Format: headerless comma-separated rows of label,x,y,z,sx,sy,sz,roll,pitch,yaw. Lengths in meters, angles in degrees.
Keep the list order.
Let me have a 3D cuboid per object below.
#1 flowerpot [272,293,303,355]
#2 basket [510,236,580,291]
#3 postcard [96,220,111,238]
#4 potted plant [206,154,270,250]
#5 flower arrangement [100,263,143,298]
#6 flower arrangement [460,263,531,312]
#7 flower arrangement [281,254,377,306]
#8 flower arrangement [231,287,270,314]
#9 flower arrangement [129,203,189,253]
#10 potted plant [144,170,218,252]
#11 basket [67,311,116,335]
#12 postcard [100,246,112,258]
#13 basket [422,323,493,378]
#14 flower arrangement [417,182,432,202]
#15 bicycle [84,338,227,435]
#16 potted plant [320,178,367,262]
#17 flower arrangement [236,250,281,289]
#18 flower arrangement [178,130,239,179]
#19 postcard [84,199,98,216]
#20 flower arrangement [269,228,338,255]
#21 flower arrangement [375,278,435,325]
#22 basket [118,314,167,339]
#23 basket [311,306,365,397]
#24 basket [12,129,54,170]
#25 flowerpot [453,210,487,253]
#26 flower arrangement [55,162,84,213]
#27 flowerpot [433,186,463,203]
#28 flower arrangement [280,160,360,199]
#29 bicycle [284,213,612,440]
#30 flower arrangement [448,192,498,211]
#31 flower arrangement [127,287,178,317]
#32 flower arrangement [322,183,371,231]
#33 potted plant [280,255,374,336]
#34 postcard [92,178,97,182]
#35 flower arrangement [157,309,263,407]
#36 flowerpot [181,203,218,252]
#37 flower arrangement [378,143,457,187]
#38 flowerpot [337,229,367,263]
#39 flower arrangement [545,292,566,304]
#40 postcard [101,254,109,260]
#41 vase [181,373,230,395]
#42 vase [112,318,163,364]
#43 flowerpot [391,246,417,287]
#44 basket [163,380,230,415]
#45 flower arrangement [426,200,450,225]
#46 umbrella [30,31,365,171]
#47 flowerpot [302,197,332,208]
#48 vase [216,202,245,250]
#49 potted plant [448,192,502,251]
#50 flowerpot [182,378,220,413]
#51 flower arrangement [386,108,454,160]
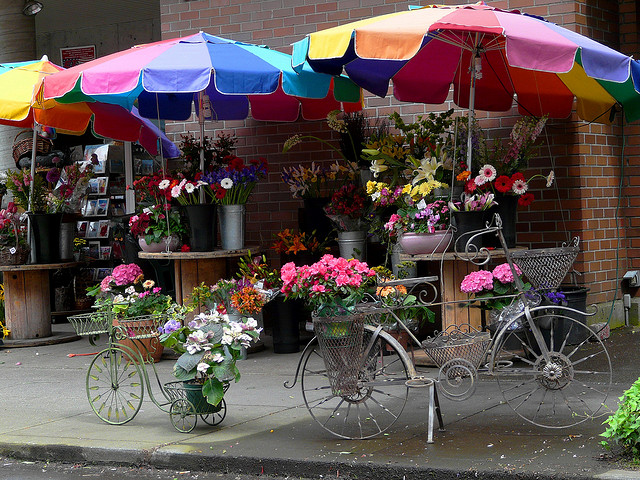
flowerpot,-0.405,0.996,8.361,0.505,0.707,0.509,-2,-10,-3
basket,1.809,0.215,5.572,0.412,0.301,0.395,6,-14,-34
postcard,-3.761,-0.184,12.173,0.254,0.300,0.032,-15,-26,27
potted plant,-0.987,-0.436,8.367,0.932,1.100,0.828,-4,-7,38
flower arrangement,-2.157,0.497,7.895,0.364,0.276,0.388,5,26,9
flower arrangement,1.669,0.446,6.595,0.628,0.400,0.602,-3,-3,-16
flower arrangement,0.084,0.338,5.616,0.575,0.344,0.605,-3,2,-3
flower arrangement,-0.750,0.642,7.497,0.284,0.207,0.279,-1,1,6
flower arrangement,-1.915,-0.131,8.296,0.595,0.442,0.610,2,1,43
potted plant,-1.721,-0.349,8.558,0.977,1.149,0.847,-4,-1,3
basket,-1.956,0.704,5.916,0.295,0.188,0.347,-3,3,-21
postcard,-3.728,0.188,12.139,0.197,0.136,0.049,-1,-4,18
basket,1.066,0.873,5.398,0.439,0.364,0.476,0,4,34
flower arrangement,1.036,-0.500,6.905,0.123,0.124,0.090,-2,3,7
bicycle,-1.441,1.156,5.962,1.258,0.838,0.643,-5,-8,14
potted plant,0.152,-0.210,8.299,0.773,0.900,0.675,0,1,6
flower arrangement,-0.744,0.368,8.095,0.489,0.381,0.395,3,-7,-1
flower arrangement,-1.492,-1.098,9.075,0.615,0.479,0.649,-1,2,7
postcard,-4.035,-0.564,12.326,0.288,0.337,0.024,1,-18,14
flower arrangement,-0.244,0.007,8.481,0.548,0.245,0.377,2,-8,-3
flower arrangement,0.825,0.607,6.563,0.592,0.286,0.598,4,4,-16
basket,-1.737,0.850,6.809,0.425,0.215,0.436,-2,-6,1
basket,0.195,0.827,5.247,0.522,0.808,0.535,-3,0,4
basket,-4.667,-1.418,11.383,0.483,0.529,0.612,2,-15,-33
flowerpot,1.449,-0.060,6.842,0.390,0.469,0.390,1,-6,-8
flower arrangement,-3.466,-0.760,9.717,0.199,0.622,0.253,40,-25,-30
flowerpot,1.325,-0.489,7.086,0.184,0.135,0.204,1,-8,-2
flower arrangement,-0.012,-0.754,8.684,0.744,0.382,0.535,-2,-3,7
bicycle,1.228,0.705,5.886,0.906,1.468,2.341,-17,15,-35
flower arrangement,1.541,-0.357,6.814,0.260,0.118,0.263,-2,-6,-19
flower arrangement,-1.889,0.653,7.693,0.540,0.220,0.521,-1,19,20
flower arrangement,0.275,-0.321,8.249,0.519,0.570,0.530,-14,-12,-14
potted plant,0.037,0.390,5.273,0.577,0.522,0.588,-4,-3,43
postcard,-3.962,-1.060,12.267,0.071,0.050,0.073,-1,-9,1
flower arrangement,-0.927,0.965,5.612,0.714,0.610,0.698,-10,20,-38
flowerpot,-1.329,-0.109,8.210,0.535,0.605,0.479,0,-6,0
flower arrangement,1.074,-0.756,7.254,0.569,0.324,0.541,-2,8,5
flowerpot,0.380,0.079,8.201,0.346,0.390,0.353,-1,-5,-7
flower arrangement,2.312,0.563,6.858,0.170,0.057,0.172,5,-3,-17
postcard,-3.719,0.296,12.101,0.094,0.095,0.025,-2,-6,4
vase,-0.919,1.125,5.455,0.235,0.097,0.233,2,-2,-34
vase,-1.765,1.025,7.027,0.520,0.415,0.520,-10,3,-31
flowerpot,0.922,0.312,7.889,0.393,0.457,0.424,1,-10,-2
basket,-1.024,1.259,5.591,0.364,0.138,0.375,0,-4,19
flower arrangement,1.172,-0.281,7.014,0.232,0.243,0.220,-6,4,5
umbrella,-1.148,-1.739,7.657,2.446,1.050,2.521,-4,9,-36
flowerpot,-0.047,-0.461,8.644,0.219,0.095,0.146,2,-4,-33
vase,-1.166,-0.160,8.371,0.464,0.584,0.490,2,-3,-20
potted plant,1.518,-0.194,6.840,0.602,0.633,0.620,0,0,30
flowerpot,-0.939,1.273,5.652,0.272,0.221,0.293,-1,-5,32
flower arrangement,1.111,-1.154,7.683,0.643,0.565,0.579,-2,-2,-7
